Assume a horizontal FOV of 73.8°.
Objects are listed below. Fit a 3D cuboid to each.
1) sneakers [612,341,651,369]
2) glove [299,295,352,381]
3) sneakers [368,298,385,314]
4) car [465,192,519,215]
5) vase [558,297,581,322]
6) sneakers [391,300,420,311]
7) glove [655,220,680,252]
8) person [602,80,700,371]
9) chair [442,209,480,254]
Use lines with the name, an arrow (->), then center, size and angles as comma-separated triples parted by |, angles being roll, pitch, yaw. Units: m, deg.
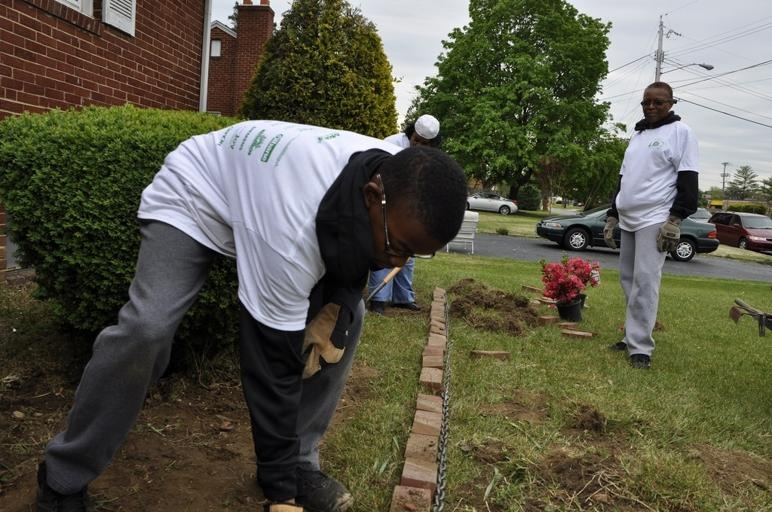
sneakers -> 2.513, 1.038, 5.279 | 0.133, 0.160, 0.382 | -13, 8, -25
glove -> -0.382, 0.523, 3.175 | 0.176, 0.381, 0.538 | 24, 1, 23
sneakers -> -0.097, 0.603, 6.218 | 0.244, 0.235, 0.117 | 7, 5, 40
car -> 6.428, -3.149, 31.051 | 2.638, 1.077, 1.601 | 11, 10, 35
vase -> 2.384, 0.681, 6.572 | 0.300, 0.223, 0.310 | -10, -11, 10
sneakers -> 0.263, 0.626, 6.482 | 0.360, 0.149, 0.122 | -1, 2, 11
glove -> 2.803, -0.195, 5.059 | 0.193, 0.342, 0.137 | 7, 8, 9
person -> 2.679, -0.340, 5.236 | 0.518, 2.815, 0.727 | 0, 10, -31
chair -> 2.080, -0.634, 13.909 | 0.729, 1.080, 1.233 | 11, -3, 12
